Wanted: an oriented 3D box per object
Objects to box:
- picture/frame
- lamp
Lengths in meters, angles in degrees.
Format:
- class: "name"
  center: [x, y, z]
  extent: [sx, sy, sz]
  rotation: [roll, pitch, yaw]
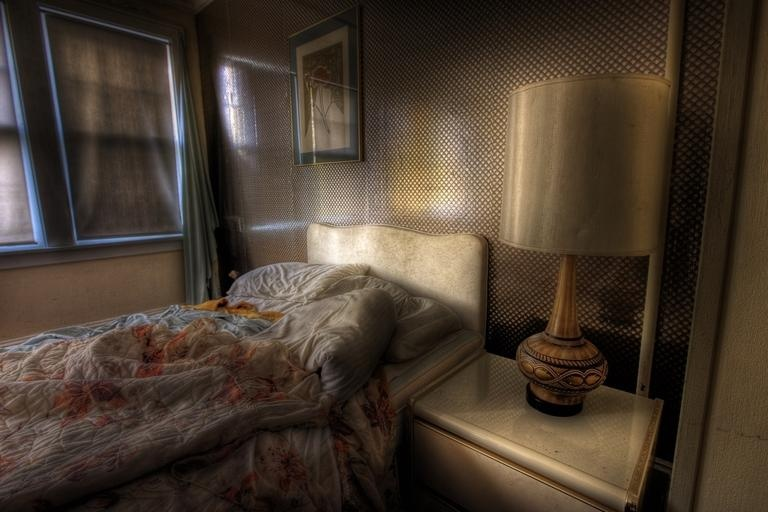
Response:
- class: "picture/frame"
  center: [-0.353, -1.111, 3.324]
  extent: [0.044, 1.091, 1.022]
  rotation: [-8, 9, -40]
- class: "lamp"
  center: [0.807, -0.018, 2.286]
  extent: [0.628, 1.377, 0.617]
  rotation: [-4, 9, -38]
